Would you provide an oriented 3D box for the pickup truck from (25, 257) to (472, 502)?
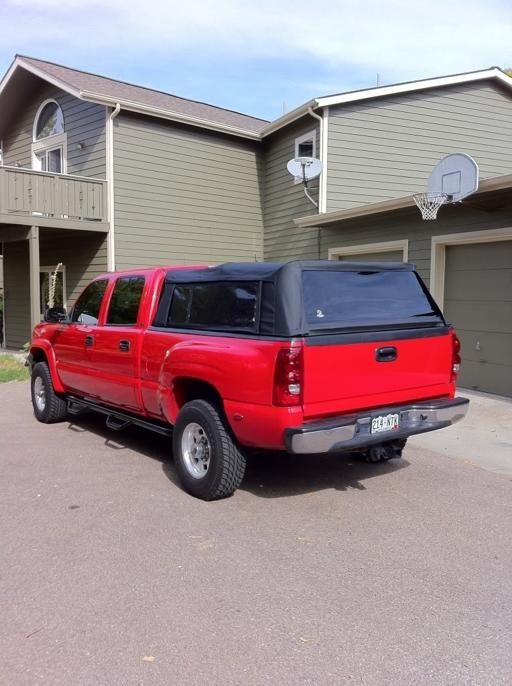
[{"bbox_3d":[-0.438,0.061,4.856,1.828,1.097,3.439,-1,9,-43],"label":"pickup truck"}]
